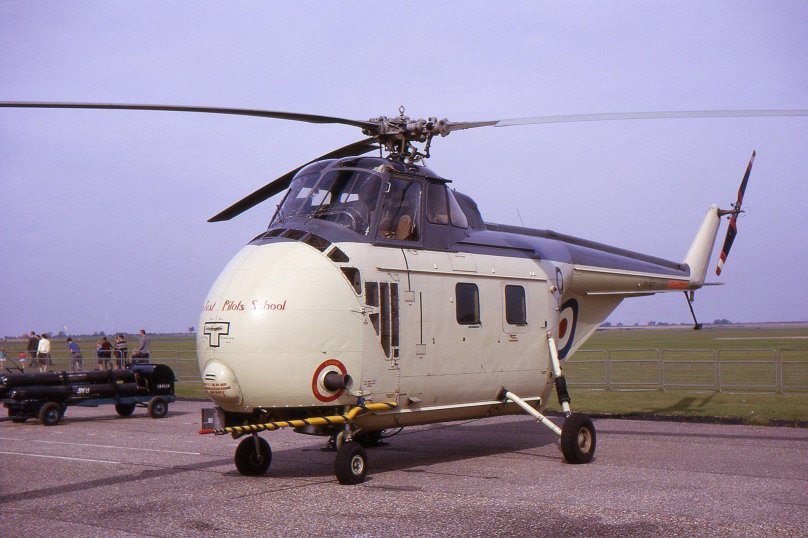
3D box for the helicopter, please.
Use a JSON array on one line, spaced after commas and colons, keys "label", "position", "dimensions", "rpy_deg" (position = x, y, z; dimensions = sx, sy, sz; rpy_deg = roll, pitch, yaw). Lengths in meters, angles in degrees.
[{"label": "helicopter", "position": [1.460, 0.347, 12.962], "dimensions": [8.111, 3.854, 9.660], "rpy_deg": [-3, -5, 44]}]
